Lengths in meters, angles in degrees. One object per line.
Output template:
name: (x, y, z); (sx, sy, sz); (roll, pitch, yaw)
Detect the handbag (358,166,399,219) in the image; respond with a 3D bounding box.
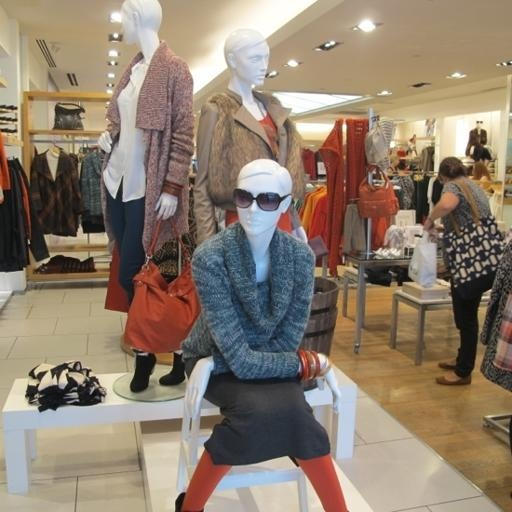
handbag: (1.004, -0.518, 3.481); (0.305, 0.410, 0.269); (4, 7, 23)

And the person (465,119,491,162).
person: (4.612, -2.258, 8.876); (0.411, 1.202, 0.352); (4, -8, 19)

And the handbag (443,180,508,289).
handbag: (1.396, -0.147, 2.730); (0.345, 0.699, 0.292); (5, 7, 28)

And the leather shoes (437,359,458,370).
leather shoes: (1.421, 0.808, 3.145); (0.148, 0.063, 0.082); (2, 0, 28)

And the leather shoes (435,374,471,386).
leather shoes: (1.333, 0.813, 2.847); (0.182, 0.080, 0.096); (5, -1, 6)

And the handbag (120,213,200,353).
handbag: (-0.337, 0.082, 1.606); (0.283, 0.601, 0.165); (9, -9, -39)

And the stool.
stool: (1.378, 0.411, 3.454); (0.875, 0.642, 0.480); (-3, 7, -27)

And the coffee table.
coffee table: (0.836, 0.336, 3.230); (0.778, 0.759, 0.633); (-1, -11, -30)

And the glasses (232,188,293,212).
glasses: (0.009, -0.136, 1.033); (0.128, 0.053, 0.056); (3, 6, 5)

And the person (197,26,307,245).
person: (-0.005, -0.301, 1.770); (0.437, 1.193, 0.318); (-4, 14, -18)
